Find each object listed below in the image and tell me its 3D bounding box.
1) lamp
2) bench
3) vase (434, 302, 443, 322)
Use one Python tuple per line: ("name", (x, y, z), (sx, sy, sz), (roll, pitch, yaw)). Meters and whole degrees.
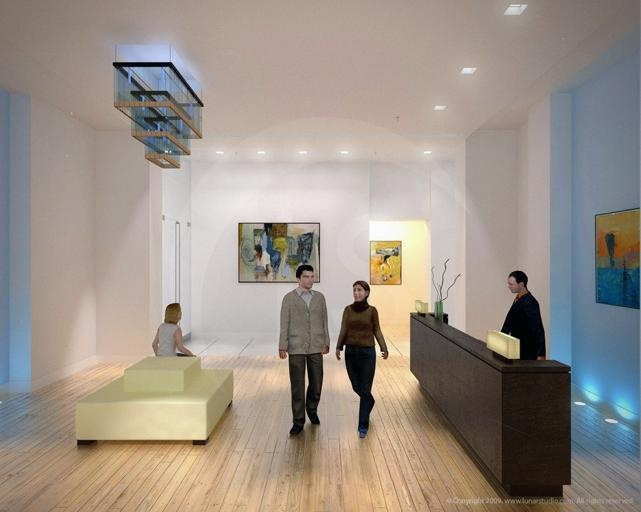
("lamp", (-2.047, -1.737, 5.635), (0.503, 0.943, 1.509), (-13, -1, -19))
("bench", (-1.812, 1.533, 5.156), (1.357, 0.736, 0.997), (0, 4, 1))
("vase", (1.498, 0.689, 5.801), (0.096, 0.238, 0.210), (0, 4, 9))
